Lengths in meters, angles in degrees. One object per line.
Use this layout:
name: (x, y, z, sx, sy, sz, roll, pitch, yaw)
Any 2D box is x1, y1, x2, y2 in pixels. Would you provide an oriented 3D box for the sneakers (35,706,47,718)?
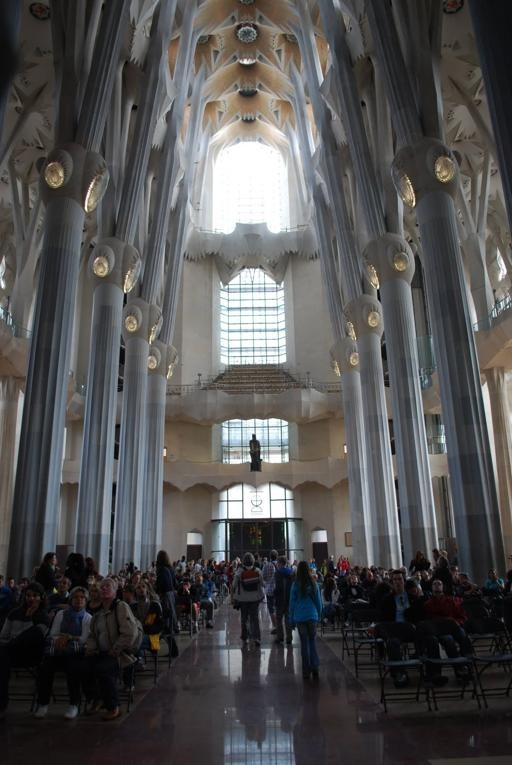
sneakers: (-2.028, 3.078, 4.678, 0.054, 0.086, 0.173, 8, -6, -3)

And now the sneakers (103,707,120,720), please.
sneakers: (-1.326, 3.050, 4.567, 0.158, 0.077, 0.145, 10, -23, -29)

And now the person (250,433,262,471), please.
person: (-0.016, 4.530, 30.853, 0.700, 2.191, 0.932, -1, -18, -1)

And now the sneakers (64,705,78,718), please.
sneakers: (-1.732, 3.083, 4.629, 0.058, 0.083, 0.173, 0, -20, -1)

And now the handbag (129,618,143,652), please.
handbag: (-1.226, 2.608, 5.059, 0.094, 0.341, 0.564, 2, -21, -10)

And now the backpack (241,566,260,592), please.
backpack: (-0.091, 3.562, 9.063, 0.359, 0.621, 0.300, 0, -13, 3)
